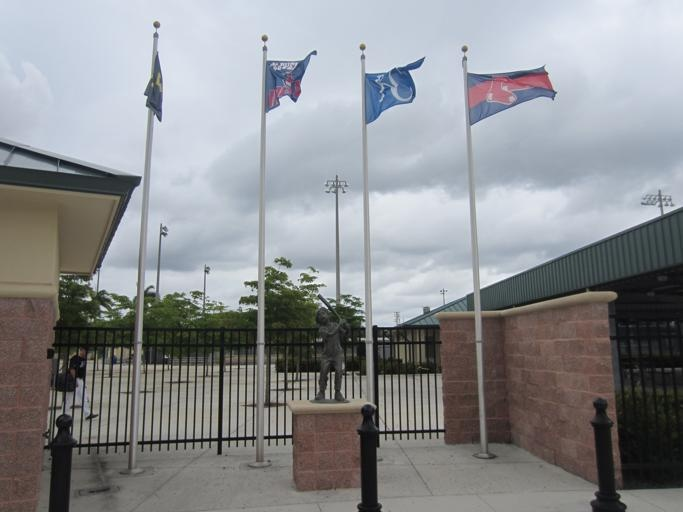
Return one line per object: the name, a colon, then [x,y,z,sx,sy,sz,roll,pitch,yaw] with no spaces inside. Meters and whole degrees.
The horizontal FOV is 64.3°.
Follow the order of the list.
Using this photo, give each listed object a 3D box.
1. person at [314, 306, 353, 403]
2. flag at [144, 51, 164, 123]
person: [-0.201,1.912,10.702,0.649,1.844,0.975,0,-10,-6]
flag: [-3.971,-3.710,11.519,0.335,1.565,0.625,3,-10,-22]
